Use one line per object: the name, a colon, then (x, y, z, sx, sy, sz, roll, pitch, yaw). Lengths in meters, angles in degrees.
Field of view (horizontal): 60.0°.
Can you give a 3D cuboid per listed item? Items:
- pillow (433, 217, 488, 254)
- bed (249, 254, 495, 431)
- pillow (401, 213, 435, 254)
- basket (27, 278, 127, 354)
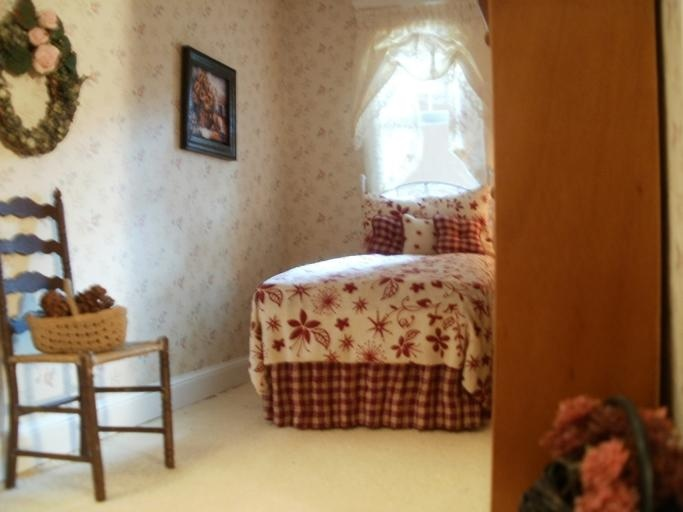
pillow: (0.756, -0.130, 3.764, 0.337, 0.236, 0.294, 0, 8, 10)
bed: (0.077, 0.561, 3.413, 1.160, 0.737, 1.353, -1, -8, 6)
pillow: (0.491, -0.131, 3.750, 0.203, 0.229, 0.162, -1, 7, 6)
basket: (-1.036, 0.244, 2.336, 0.326, 0.278, 0.228, -1, -5, -10)
